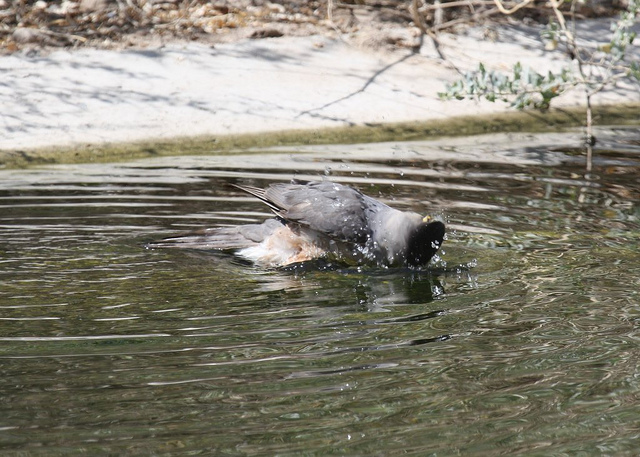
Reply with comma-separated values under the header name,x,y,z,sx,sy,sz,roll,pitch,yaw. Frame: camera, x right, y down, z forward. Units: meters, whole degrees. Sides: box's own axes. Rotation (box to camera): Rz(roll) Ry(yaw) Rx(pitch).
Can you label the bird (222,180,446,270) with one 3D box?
name,x,y,z,sx,sy,sz,roll,pitch,yaw
bird,0.127,0.001,7.206,1.933,0.796,0.825,8,15,39
